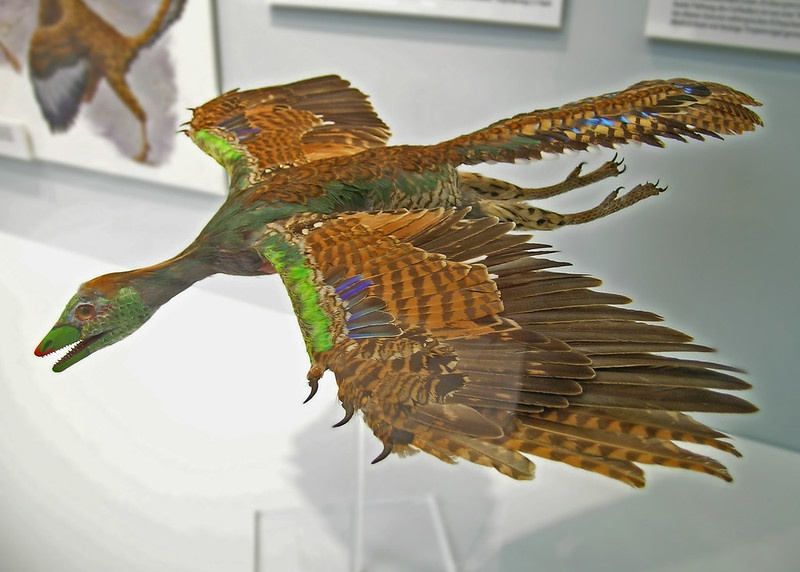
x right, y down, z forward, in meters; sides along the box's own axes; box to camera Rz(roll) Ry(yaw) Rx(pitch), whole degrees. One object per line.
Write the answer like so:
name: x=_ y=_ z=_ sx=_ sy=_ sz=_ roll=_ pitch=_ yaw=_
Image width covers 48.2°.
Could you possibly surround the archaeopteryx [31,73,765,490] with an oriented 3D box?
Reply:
archaeopteryx: x=0.059 y=-0.046 z=1.210 sx=0.926 sy=0.454 sz=0.531 roll=9 pitch=24 yaw=23
